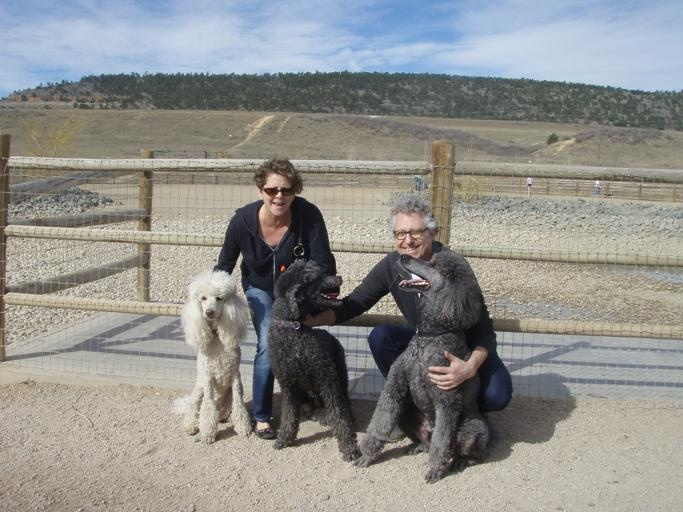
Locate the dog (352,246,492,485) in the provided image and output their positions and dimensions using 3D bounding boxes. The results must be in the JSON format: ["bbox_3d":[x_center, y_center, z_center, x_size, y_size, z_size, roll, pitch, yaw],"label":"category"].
[{"bbox_3d":[0.678,0.838,5.461,0.958,1.743,0.533,3,14,11],"label":"dog"}]

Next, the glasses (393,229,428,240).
[{"bbox_3d":[0.543,-0.165,5.651,0.276,0.108,0.122,3,14,11],"label":"glasses"}]

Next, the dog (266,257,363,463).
[{"bbox_3d":[-0.220,0.831,5.718,0.744,1.570,0.509,1,14,5],"label":"dog"}]

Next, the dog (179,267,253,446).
[{"bbox_3d":[-1.085,0.843,5.978,0.647,1.397,0.490,-2,14,-10],"label":"dog"}]

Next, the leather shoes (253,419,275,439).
[{"bbox_3d":[-0.649,1.494,6.027,0.094,0.099,0.225,4,-7,-34],"label":"leather shoes"}]

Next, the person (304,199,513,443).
[{"bbox_3d":[0.534,0.484,5.888,1.475,1.743,1.021,-7,11,6],"label":"person"}]
